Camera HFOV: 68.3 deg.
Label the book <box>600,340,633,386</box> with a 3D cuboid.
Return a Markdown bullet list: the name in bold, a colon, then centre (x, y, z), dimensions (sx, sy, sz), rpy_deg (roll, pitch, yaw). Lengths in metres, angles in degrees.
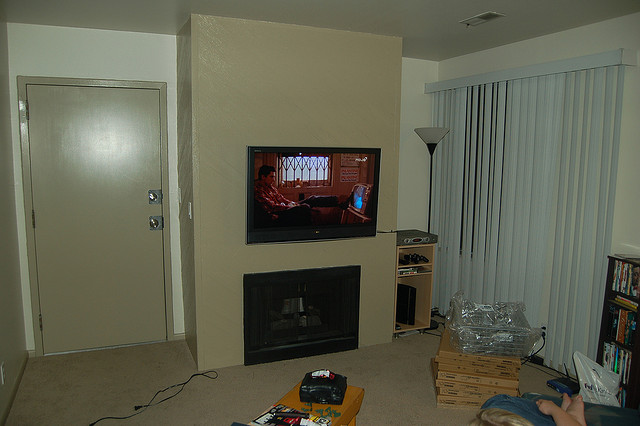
- **book**: centre (2.792, 1.416, 4.461), dimensions (0.050, 0.357, 0.243), rpy_deg (-4, 8, -34)

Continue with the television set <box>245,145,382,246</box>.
- **television set**: centre (-0.129, -0.203, 4.987), dimensions (1.066, 0.765, 0.083), rpy_deg (-1, 9, -17)

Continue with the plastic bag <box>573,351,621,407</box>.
- **plastic bag**: centre (2.396, 1.452, 4.103), dimensions (0.358, 0.389, 0.210), rpy_deg (4, 7, 28)

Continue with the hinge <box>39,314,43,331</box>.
- **hinge**: centre (-3.042, 1.203, 5.148), dimensions (0.023, 0.182, 0.009), rpy_deg (-1, 7, -11)

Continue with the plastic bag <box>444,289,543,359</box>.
- **plastic bag**: centre (1.646, 1.126, 4.555), dimensions (0.629, 0.372, 0.808), rpy_deg (0, 6, 6)

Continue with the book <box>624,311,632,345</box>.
- **book**: centre (2.856, 1.075, 4.398), dimensions (0.027, 0.308, 0.047), rpy_deg (1, 7, 8)

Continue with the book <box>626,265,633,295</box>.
- **book**: centre (2.886, 0.627, 4.410), dimensions (0.027, 0.269, 0.034), rpy_deg (-4, 8, -35)

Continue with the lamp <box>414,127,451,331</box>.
- **lamp**: centre (1.399, 0.202, 5.959), dimensions (0.359, 2.480, 0.834), rpy_deg (3, 7, 18)

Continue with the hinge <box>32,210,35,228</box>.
- **hinge**: centre (-3.065, 0.071, 5.050), dimensions (0.019, 0.173, 0.017), rpy_deg (0, 7, 0)

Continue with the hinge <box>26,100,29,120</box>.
- **hinge**: centre (-3.079, -1.073, 4.968), dimensions (0.027, 0.194, 0.012), rpy_deg (-6, 9, -45)
